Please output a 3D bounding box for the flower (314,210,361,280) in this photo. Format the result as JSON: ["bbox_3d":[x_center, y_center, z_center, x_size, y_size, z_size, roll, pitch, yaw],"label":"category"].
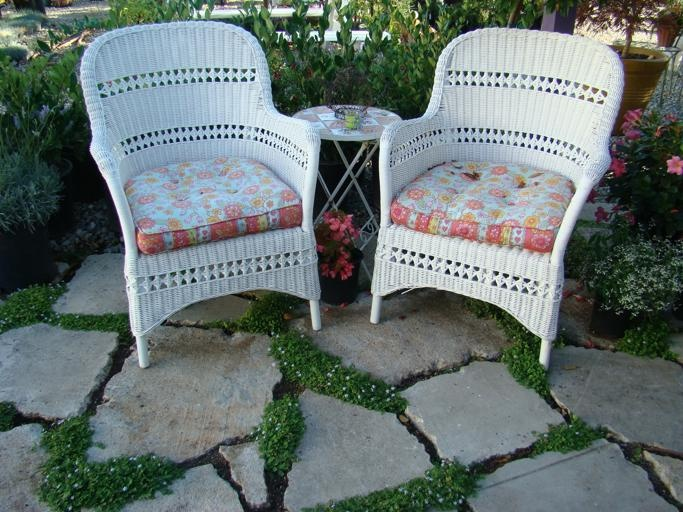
[{"bbox_3d":[-0.076,0.000,3.082,0.267,0.418,0.286,3,18,-8],"label":"flower"}]

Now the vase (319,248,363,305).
[{"bbox_3d":[-0.019,0.090,3.153,0.283,0.235,0.294,-2,27,-5],"label":"vase"}]

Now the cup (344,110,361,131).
[{"bbox_3d":[0.059,-0.731,2.946,0.082,0.067,0.097,-2,35,-3],"label":"cup"}]

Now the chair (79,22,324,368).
[{"bbox_3d":[-0.736,-0.399,2.879,1.174,1.444,1.206,-3,33,-18],"label":"chair"}]

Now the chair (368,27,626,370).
[{"bbox_3d":[0.786,-0.384,2.856,1.074,1.396,1.150,8,33,15],"label":"chair"}]
